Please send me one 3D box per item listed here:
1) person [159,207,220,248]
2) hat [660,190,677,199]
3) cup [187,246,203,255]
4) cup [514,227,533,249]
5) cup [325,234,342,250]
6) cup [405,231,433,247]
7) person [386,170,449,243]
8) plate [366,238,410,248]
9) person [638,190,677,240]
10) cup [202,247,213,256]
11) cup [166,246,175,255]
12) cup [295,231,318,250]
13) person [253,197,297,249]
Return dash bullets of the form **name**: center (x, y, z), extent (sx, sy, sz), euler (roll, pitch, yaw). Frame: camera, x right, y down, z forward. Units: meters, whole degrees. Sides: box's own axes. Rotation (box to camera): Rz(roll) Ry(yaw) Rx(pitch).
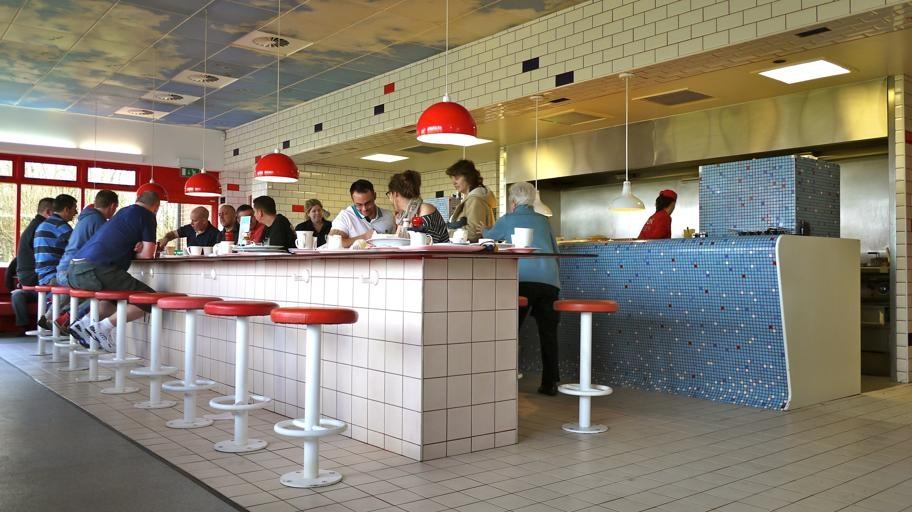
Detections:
- **person**: center (-4.308, -0.496, 10.531), extent (0.740, 0.665, 0.501), euler (5, 14, 19)
- **hat**: center (3.224, -0.931, 9.634), extent (0.338, 0.093, 0.240), euler (-2, 5, -45)
- **cup**: center (-3.348, -0.068, 8.191), extent (0.183, 0.089, 0.122), euler (-1, 2, 0)
- **cup**: center (0.646, -0.182, 6.333), extent (0.185, 0.194, 0.128), euler (2, 13, 4)
- **cup**: center (-1.253, -0.139, 6.621), extent (0.212, 0.141, 0.181), euler (0, 3, -16)
- **cup**: center (-0.349, -0.155, 6.092), extent (0.241, 0.123, 0.145), euler (2, 5, 26)
- **person**: center (-0.436, -0.587, 7.579), extent (0.730, 0.832, 1.519), euler (-1, 11, -5)
- **plate**: center (-0.669, -0.135, 6.225), extent (0.444, 0.102, 0.134), euler (5, 13, 22)
- **person**: center (2.971, -0.610, 9.450), extent (0.435, 0.694, 0.754), euler (4, 13, 15)
- **cup**: center (-3.188, -0.067, 8.221), extent (0.181, 0.093, 0.153), euler (1, 5, -15)
- **cup**: center (-4.031, -0.079, 9.046), extent (0.162, 0.080, 0.077), euler (1, -7, -25)
- **cup**: center (-1.559, -0.166, 6.865), extent (0.283, 0.199, 0.167), euler (-2, -1, 20)
- **person**: center (-2.632, -0.481, 9.297), extent (0.520, 0.702, 1.526), euler (-3, 12, -16)
